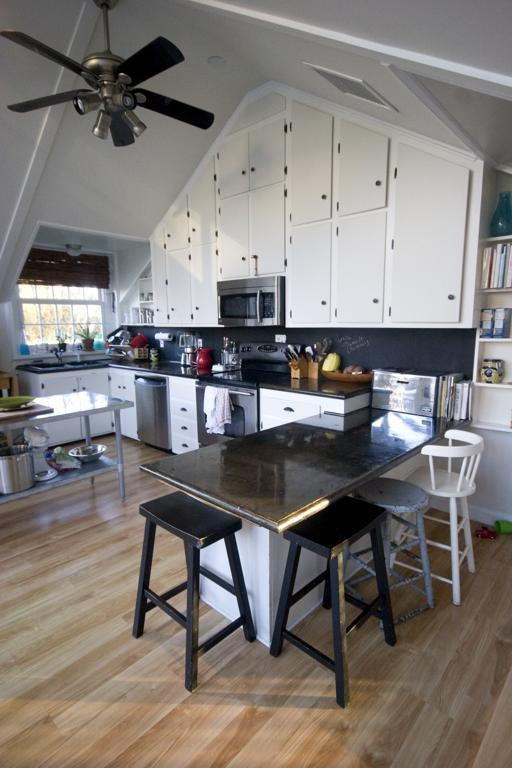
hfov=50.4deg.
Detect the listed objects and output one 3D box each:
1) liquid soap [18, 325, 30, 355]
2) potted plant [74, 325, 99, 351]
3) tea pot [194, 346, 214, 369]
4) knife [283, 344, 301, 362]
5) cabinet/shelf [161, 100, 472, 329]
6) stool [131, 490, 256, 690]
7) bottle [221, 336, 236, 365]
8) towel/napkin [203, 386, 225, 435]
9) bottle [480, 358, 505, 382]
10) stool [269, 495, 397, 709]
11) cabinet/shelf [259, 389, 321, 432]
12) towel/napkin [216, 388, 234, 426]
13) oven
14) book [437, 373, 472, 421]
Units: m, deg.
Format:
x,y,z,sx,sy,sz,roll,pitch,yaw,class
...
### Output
x,y,z,sx,sy,sz,roll,pitch,yaw,class
-2.216,-0.413,5.176,0.084,0.281,0.161,-5,14,-17,liquid soap
-1.785,-0.472,5.807,0.267,0.281,0.239,-2,-6,12,potted plant
-0.418,-0.216,4.656,0.151,0.191,0.190,1,5,4,tea pot
0.261,-0.230,3.990,0.046,0.122,0.122,-11,-22,4,knife
0.403,-1.089,3.415,0.262,0.813,1.593,-7,13,-36,cabinet/shelf
-0.252,0.766,2.151,0.366,0.580,0.477,-13,18,-40,stool
-0.222,-0.286,4.584,0.112,0.210,0.291,-2,14,-3,bottle
-0.300,0.199,3.916,0.086,0.288,0.279,-2,7,-35,towel/napkin
1.290,-0.087,3.043,0.127,0.140,0.126,-5,12,-22,bottle
0.296,0.764,2.092,0.383,0.586,0.509,10,17,37,stool
0.217,0.152,3.296,0.215,0.217,0.126,14,21,42,cabinet/shelf
-0.226,0.178,3.877,0.117,0.292,0.112,2,14,11,towel/napkin
-0.182,0.194,3.697,0.307,0.430,0.418,-7,11,-44,oven
1.079,0.062,3.070,0.222,0.301,0.299,6,13,19,book
